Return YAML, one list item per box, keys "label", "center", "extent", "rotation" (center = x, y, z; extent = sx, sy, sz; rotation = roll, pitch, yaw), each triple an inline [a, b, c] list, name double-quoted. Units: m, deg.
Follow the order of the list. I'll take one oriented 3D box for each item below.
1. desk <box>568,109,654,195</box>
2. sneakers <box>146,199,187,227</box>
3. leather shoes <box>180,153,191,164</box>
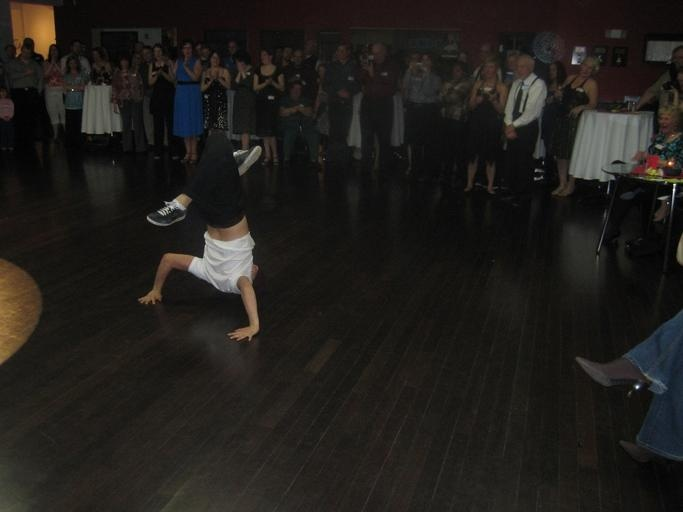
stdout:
- label: "desk"
  center: [3.473, -1.434, 6.748]
  extent: [1.171, 1.200, 1.292]
  rotation: [-1, 13, -8]
- label: "sneakers"
  center: [-1.018, -0.243, 2.857]
  extent: [0.189, 0.182, 0.224]
  rotation: [-3, 20, -16]
- label: "leather shoes"
  center: [-2.759, -1.697, 8.643]
  extent: [0.110, 0.133, 0.343]
  rotation: [-2, 13, -8]
